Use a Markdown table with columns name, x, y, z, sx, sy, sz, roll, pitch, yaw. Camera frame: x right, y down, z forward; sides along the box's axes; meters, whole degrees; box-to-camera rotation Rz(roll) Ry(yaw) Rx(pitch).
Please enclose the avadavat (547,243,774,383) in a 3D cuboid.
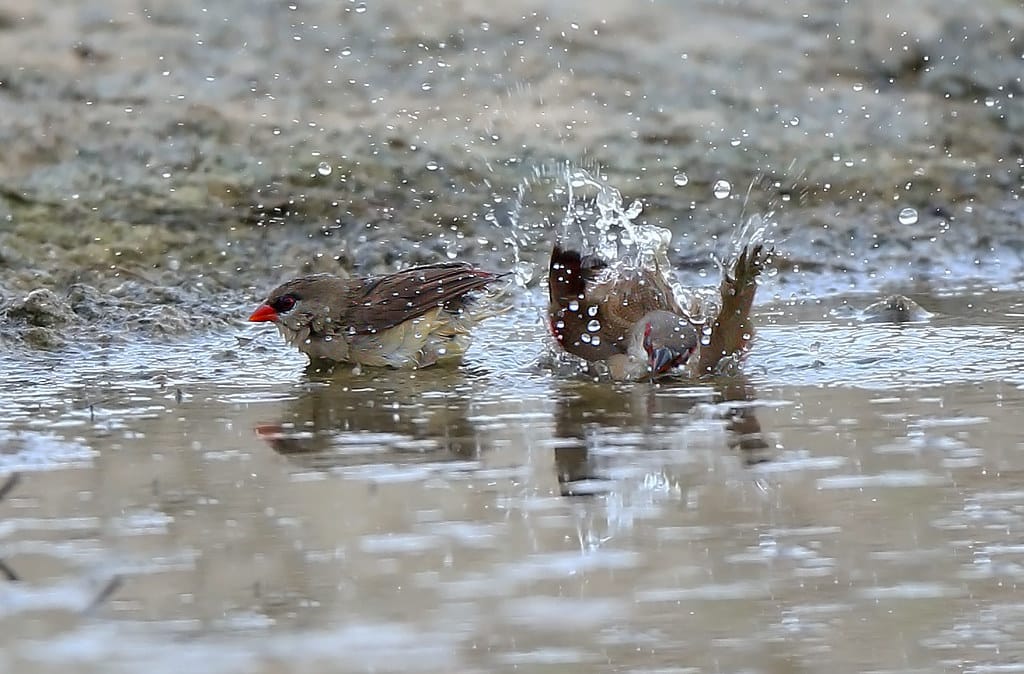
| name | x | y | z | sx | sy | sz | roll | pitch | yaw |
| --- | --- | --- | --- | --- | --- | --- | --- | --- | --- |
| avadavat | 0.888 | -0.169 | 7.224 | 0.894 | 0.810 | 0.925 | 0 | 4 | 45 |
